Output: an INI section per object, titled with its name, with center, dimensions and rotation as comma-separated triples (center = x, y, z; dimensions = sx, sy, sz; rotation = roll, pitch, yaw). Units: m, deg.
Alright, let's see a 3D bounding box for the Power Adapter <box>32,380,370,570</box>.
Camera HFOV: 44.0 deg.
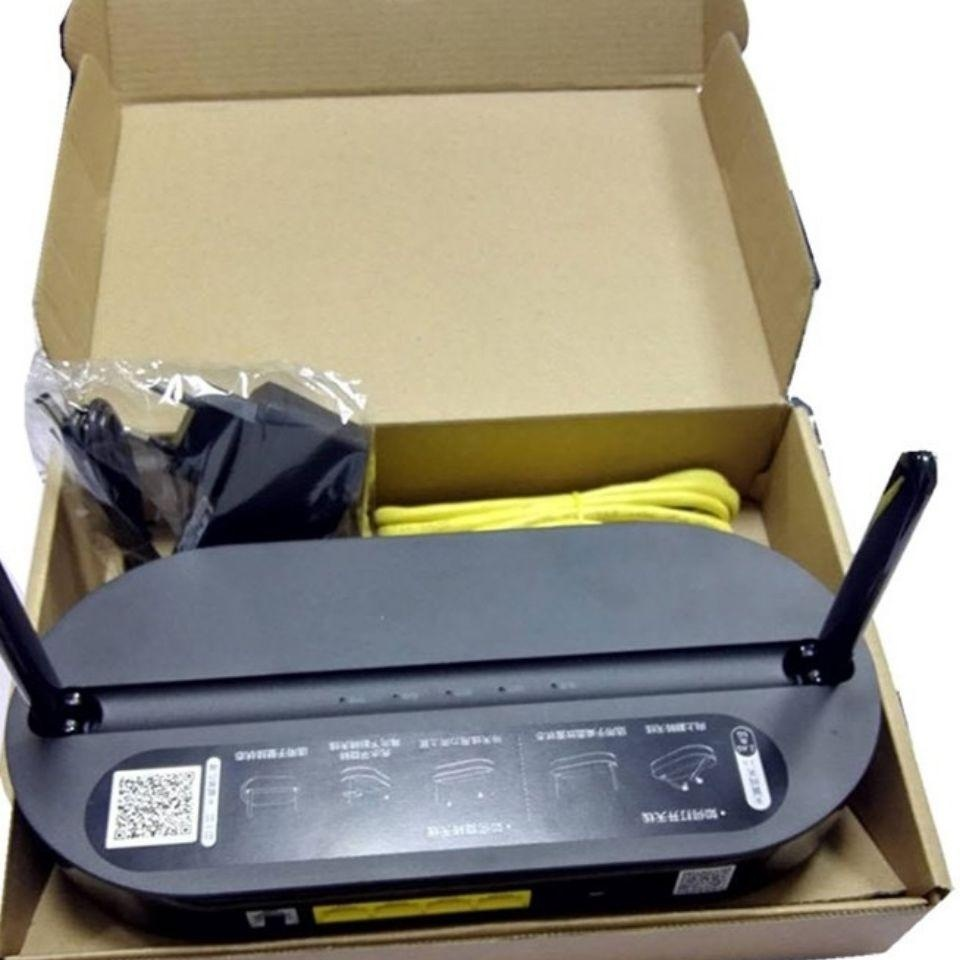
[Power Adapter]
center = -0.275, -0.010, 1.217
dimensions = 0.241, 0.120, 0.237
rotation = 9, 58, -21
